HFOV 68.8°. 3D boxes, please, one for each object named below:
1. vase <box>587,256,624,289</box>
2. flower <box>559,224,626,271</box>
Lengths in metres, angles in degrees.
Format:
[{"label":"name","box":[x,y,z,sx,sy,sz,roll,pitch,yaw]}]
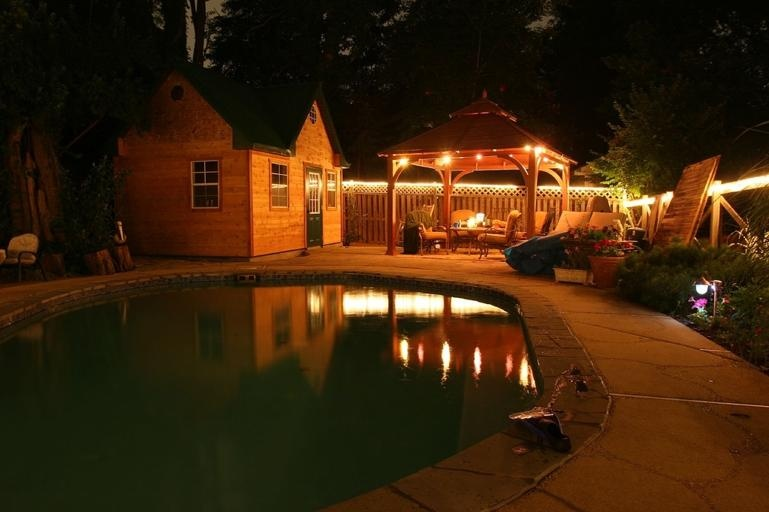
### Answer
[{"label":"vase","box":[4.683,0.347,11.914,0.618,0.534,0.648,1,4,5]},{"label":"flower","box":[4.581,-0.246,12.310,1.045,0.766,1.072,0,2,44]}]
